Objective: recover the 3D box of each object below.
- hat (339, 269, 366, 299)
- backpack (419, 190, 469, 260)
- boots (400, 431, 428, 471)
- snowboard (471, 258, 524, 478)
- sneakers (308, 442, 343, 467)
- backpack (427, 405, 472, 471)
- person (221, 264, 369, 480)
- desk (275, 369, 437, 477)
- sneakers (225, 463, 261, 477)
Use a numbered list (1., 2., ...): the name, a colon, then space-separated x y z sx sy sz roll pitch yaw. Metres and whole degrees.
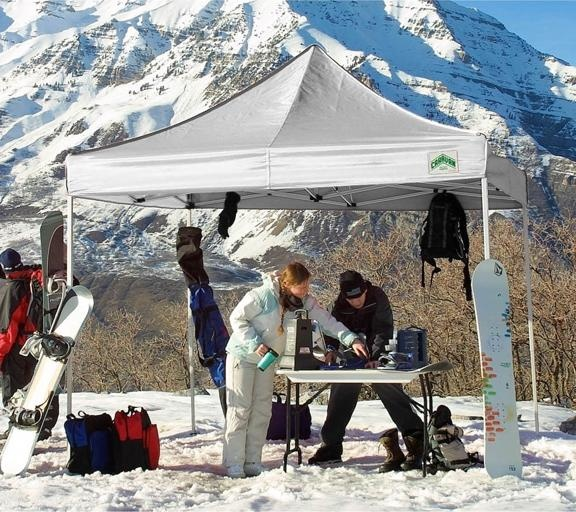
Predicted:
1. hat: 0.577 0.257 7.142 0.219 0.205 0.274 -24 -7 -3
2. backpack: 1.732 -0.341 8.653 0.427 0.805 0.635 5 -5 -28
3. boots: 1.066 1.693 6.837 0.156 0.291 0.366 -8 -4 43
4. snowboard: 1.767 0.897 6.616 0.289 1.809 0.397 18 -28 -27
5. sneakers: 0.362 1.799 7.196 0.404 0.222 0.127 3 -5 -16
6. backpack: 1.380 1.555 6.754 0.365 0.540 0.227 1 -5 12
7. person: -0.043 0.979 6.762 0.966 1.844 0.667 2 -5 1
8. desk: 0.596 1.221 6.567 1.257 0.681 0.588 -2 4 11
9. sneakers: -0.371 1.816 6.750 0.143 0.097 0.327 -11 -10 26
